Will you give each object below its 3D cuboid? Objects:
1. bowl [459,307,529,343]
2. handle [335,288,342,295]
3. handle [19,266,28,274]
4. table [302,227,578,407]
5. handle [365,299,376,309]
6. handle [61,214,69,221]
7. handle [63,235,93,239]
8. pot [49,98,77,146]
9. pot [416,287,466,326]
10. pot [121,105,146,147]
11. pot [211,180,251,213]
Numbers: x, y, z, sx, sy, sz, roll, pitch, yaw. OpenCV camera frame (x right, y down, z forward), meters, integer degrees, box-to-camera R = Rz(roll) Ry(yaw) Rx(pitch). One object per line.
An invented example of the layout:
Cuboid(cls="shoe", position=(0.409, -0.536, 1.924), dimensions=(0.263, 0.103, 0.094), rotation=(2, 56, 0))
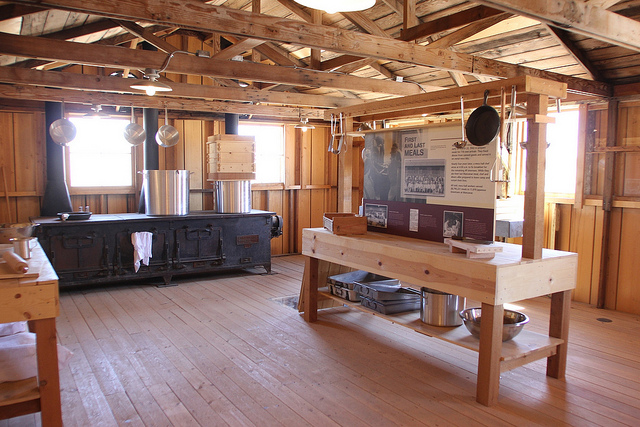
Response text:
Cuboid(cls="bowl", position=(1.734, 1.123, 4.522), dimensions=(0.656, 0.186, 0.607), rotation=(-2, 4, 0))
Cuboid(cls="handle", position=(0.234, 0.992, 5.631), dimensions=(0.017, 0.062, 0.125), rotation=(-11, 9, -43))
Cuboid(cls="handle", position=(-2.298, 0.436, 3.509), dimensions=(0.079, 0.060, 0.017), rotation=(5, -2, -25))
Cuboid(cls="table", position=(1.139, 0.837, 5.169), dimensions=(1.220, 1.424, 2.876), rotation=(-12, 18, -42))
Cuboid(cls="handle", position=(0.574, 1.029, 5.120), dimensions=(0.019, 0.080, 0.134), rotation=(-14, 13, -33))
Cuboid(cls="handle", position=(-3.823, 0.046, 6.797), dimensions=(0.104, 0.080, 0.115), rotation=(-7, 15, -30))
Cuboid(cls="handle", position=(-3.580, 0.351, 6.723), dimensions=(0.376, 0.083, 0.021), rotation=(-5, 16, -24))
Cuboid(cls="pot", position=(-3.959, -1.273, 6.975), dimensions=(0.344, 0.398, 0.200), rotation=(-6, 16, -25))
Cuboid(cls="pot", position=(1.276, 0.942, 4.830), dimensions=(0.490, 0.394, 0.438), rotation=(1, 4, 12))
Cuboid(cls="pot", position=(-2.978, -1.431, 7.412), dimensions=(0.490, 0.650, 0.145), rotation=(-3, 3, 7))
Cuboid(cls="pot", position=(-1.496, -0.303, 8.059), dimensions=(0.760, 0.530, 0.666), rotation=(-2, 4, -30))
